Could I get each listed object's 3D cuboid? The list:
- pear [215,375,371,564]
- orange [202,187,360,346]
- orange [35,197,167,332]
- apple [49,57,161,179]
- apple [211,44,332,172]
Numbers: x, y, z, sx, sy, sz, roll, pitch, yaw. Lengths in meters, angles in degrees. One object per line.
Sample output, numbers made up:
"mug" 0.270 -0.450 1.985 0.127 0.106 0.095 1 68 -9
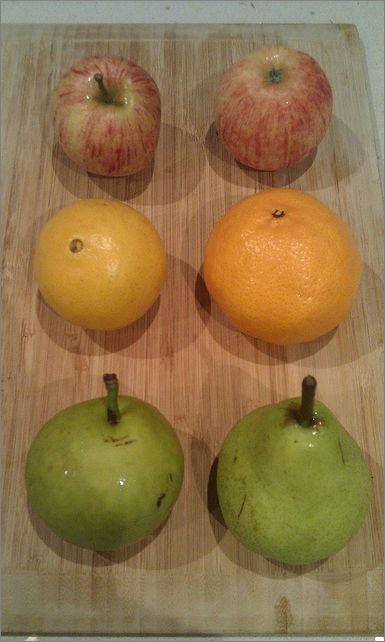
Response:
"pear" 0.093 0.148 0.564 0.116 0.159 0.115 -30 56 -22
"orange" 0.093 -0.053 0.618 0.156 0.122 0.127 2 50 1
"orange" -0.090 -0.059 0.645 0.130 0.124 0.131 -25 70 -10
"apple" -0.100 -0.236 0.695 0.123 0.139 0.104 -2 50 -3
"apple" 0.092 -0.260 0.713 0.130 0.120 0.136 -17 54 -6
